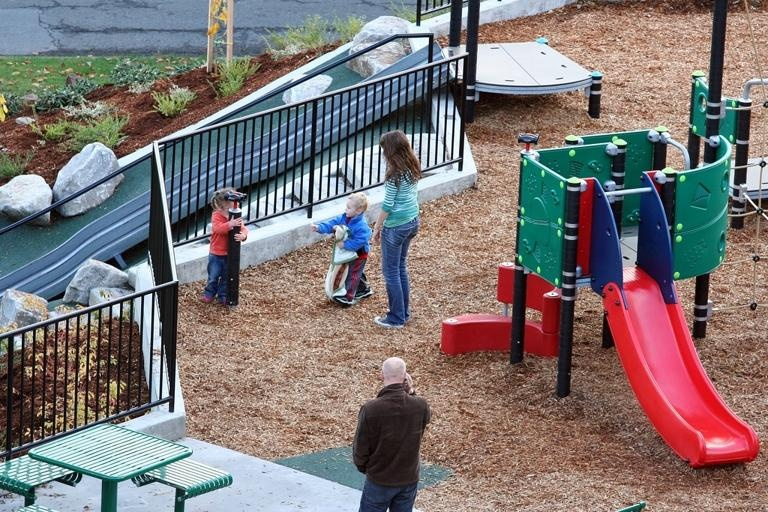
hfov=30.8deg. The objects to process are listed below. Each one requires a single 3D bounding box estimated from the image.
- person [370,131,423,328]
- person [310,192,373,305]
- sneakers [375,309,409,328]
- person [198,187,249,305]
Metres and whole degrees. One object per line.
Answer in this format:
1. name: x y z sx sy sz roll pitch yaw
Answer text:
1. person: 0.141 -0.274 15.459 0.391 2.274 0.540 22 36 39
2. person: -0.433 -0.083 15.977 0.595 1.376 0.358 -3 27 -1
3. sneakers: 0.079 0.709 15.901 0.460 0.175 0.151 7 17 22
4. person: -1.844 -0.123 15.986 0.589 1.333 0.438 -11 28 -16
